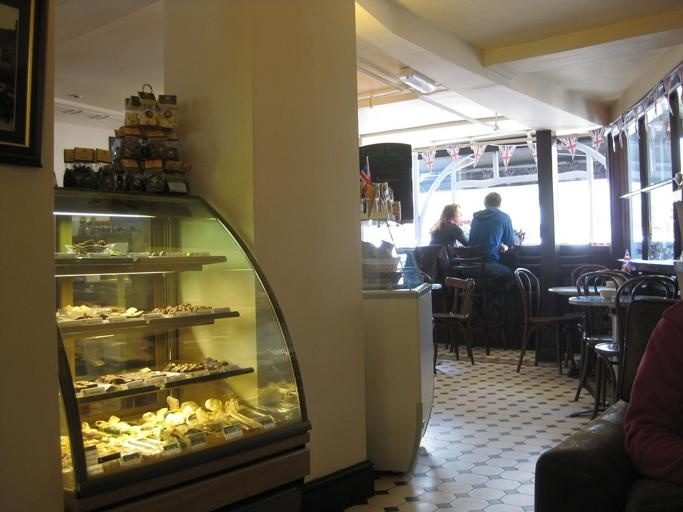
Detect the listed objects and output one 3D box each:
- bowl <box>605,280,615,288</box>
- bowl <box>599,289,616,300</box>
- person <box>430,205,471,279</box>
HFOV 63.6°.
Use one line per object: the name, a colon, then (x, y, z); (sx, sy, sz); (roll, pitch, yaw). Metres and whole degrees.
bowl: (2.316, 0.235, 4.769); (0.058, 0.045, 0.059); (0, -2, 0)
bowl: (2.247, 0.308, 4.651); (0.099, 0.058, 0.096); (-2, 4, 0)
person: (1.620, -0.144, 8.105); (0.539, 1.297, 0.548); (-13, 19, -26)
